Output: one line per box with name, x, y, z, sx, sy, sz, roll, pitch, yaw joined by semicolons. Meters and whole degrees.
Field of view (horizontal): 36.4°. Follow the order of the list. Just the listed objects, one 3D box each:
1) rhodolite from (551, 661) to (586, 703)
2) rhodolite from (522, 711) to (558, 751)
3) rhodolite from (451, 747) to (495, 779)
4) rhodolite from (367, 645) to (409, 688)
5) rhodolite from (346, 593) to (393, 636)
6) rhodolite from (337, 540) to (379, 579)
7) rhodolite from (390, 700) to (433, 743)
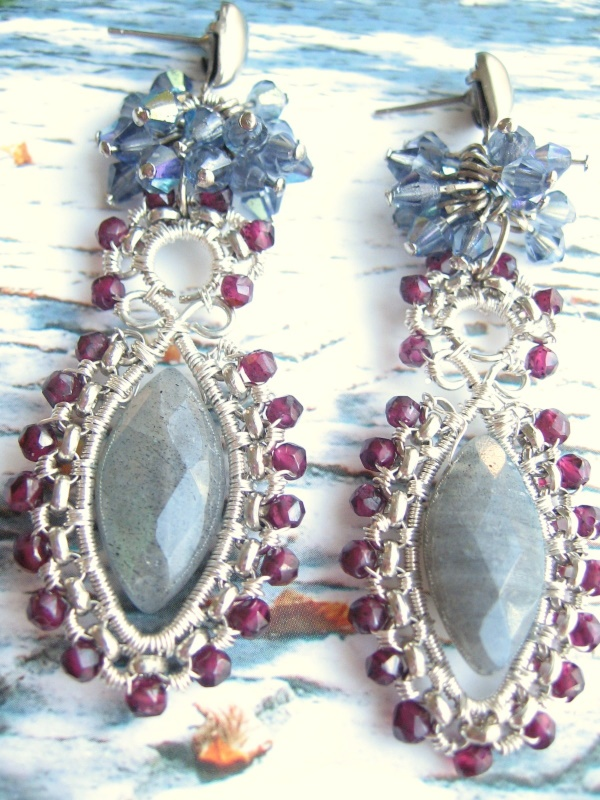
rhodolite;0.483;0.507;1.641;0.053;0.061;0.065;13;63;12
rhodolite;0.428;0.589;1.627;0.052;0.068;0.049;13;28;16
rhodolite;0.294;0.637;1.596;0.067;0.028;0.053;-6;48;7
rhodolite;0.151;0.468;1.602;0.072;0.062;0.042;8;28;8
rhodolite;0.121;0.378;1.610;0.079;0.067;0.055;30;-14;-17
rhodolite;0.101;0.281;1.625;0.081;0.062;0.040;4;-15;-17
rhodolite;0.190;0.555;1.578;0.085;0.049;0.062;17;62;-25
